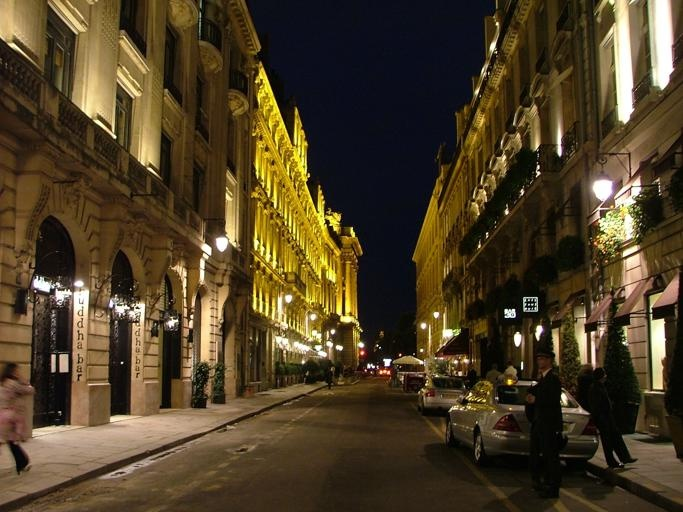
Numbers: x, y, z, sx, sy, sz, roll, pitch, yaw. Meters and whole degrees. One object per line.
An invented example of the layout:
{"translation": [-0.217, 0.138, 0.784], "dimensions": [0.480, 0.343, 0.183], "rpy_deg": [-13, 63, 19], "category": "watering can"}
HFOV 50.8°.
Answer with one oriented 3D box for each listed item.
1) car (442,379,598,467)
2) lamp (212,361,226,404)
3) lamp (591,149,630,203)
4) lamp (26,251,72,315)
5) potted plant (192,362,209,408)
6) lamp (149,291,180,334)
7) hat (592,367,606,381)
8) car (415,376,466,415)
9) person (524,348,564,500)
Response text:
{"translation": [3.687, 4.001, 17.433], "dimensions": [1.513, 1.411, 3.995], "rpy_deg": [2, -11, -5], "category": "car"}
{"translation": [-5.750, 6.089, 33.996], "dimensions": [0.777, 1.855, 0.861], "rpy_deg": [-1, -6, 21], "category": "lamp"}
{"translation": [8.075, -2.388, 21.438], "dimensions": [1.053, 1.906, 0.674], "rpy_deg": [3, -30, 17], "category": "lamp"}
{"translation": [-8.449, 1.012, 20.863], "dimensions": [1.295, 2.372, 0.639], "rpy_deg": [-1, 1, -23], "category": "lamp"}
{"translation": [-6.071, 5.579, 31.014], "dimensions": [0.708, 1.907, 0.913], "rpy_deg": [1, -3, -13], "category": "potted plant"}
{"translation": [-6.920, 2.349, 28.956], "dimensions": [0.803, 0.531, 1.872], "rpy_deg": [-4, -46, -17], "category": "lamp"}
{"translation": [5.752, 2.648, 16.191], "dimensions": [0.249, 0.364, 0.302], "rpy_deg": [7, 1, 39], "category": "hat"}
{"translation": [4.071, 5.769, 29.815], "dimensions": [1.094, 1.037, 2.882], "rpy_deg": [-1, -6, 3], "category": "car"}
{"translation": [3.973, 3.259, 14.072], "dimensions": [0.655, 2.799, 0.801], "rpy_deg": [-1, -3, 17], "category": "person"}
